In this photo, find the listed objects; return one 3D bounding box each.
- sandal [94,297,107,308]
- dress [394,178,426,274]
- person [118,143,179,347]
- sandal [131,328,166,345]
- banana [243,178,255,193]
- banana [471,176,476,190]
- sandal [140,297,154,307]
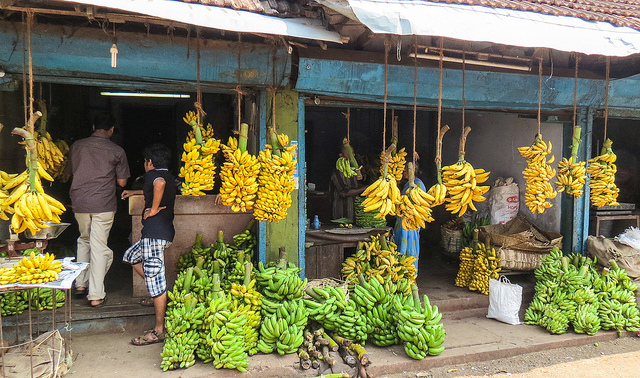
[{"bbox_3d":[-3.484,1.784,8.781,0.160,0.047,0.282,-3,2,11],"label":"sandal"},{"bbox_3d":[1.572,0.681,9.719,0.572,1.756,0.466,2,1,1],"label":"dress"},{"bbox_3d":[-2.612,0.802,8.690,0.845,3.024,1.417,-1,7,-18],"label":"person"},{"bbox_3d":[-2.600,2.266,8.507,0.558,0.216,0.183,5,-1,-15],"label":"sandal"},{"bbox_3d":[-1.038,-0.044,8.047,0.122,0.192,0.061,12,-1,-13],"label":"banana"},{"bbox_3d":[2.250,-0.094,8.096,0.095,0.190,0.059,-3,7,-33],"label":"banana"},{"bbox_3d":[-2.768,1.801,8.897,0.202,0.072,0.111,5,4,-5],"label":"sandal"}]
